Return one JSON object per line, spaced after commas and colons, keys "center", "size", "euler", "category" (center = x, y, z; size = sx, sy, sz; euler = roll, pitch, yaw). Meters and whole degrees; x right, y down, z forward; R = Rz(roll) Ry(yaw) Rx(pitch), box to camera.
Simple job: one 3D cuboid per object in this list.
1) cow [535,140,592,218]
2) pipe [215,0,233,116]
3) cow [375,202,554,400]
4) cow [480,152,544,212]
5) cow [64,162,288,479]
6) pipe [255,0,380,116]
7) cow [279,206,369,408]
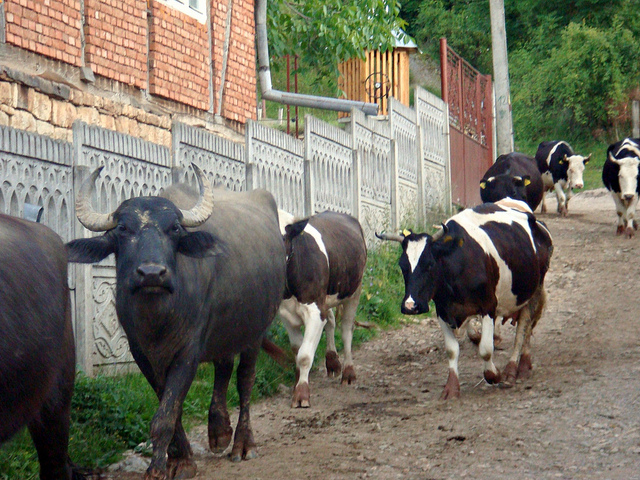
{"center": [5.421, -1.416, 25.324], "size": [0.605, 1.715, 2.627], "euler": [-1, 9, -12], "category": "cow"}
{"center": [-1.733, -3.284, 19.740], "size": [0.133, 2.032, 0.528], "euler": [3, 9, 33], "category": "pipe"}
{"center": [2.285, 0.865, 15.358], "size": [1.053, 2.645, 3.444], "euler": [-1, 3, 45], "category": "cow"}
{"center": [3.335, -1.031, 19.149], "size": [0.688, 1.350, 2.228], "euler": [-4, 4, 7], "category": "cow"}
{"center": [-1.527, 0.867, 12.902], "size": [1.261, 3.689, 2.990], "euler": [2, 10, 28], "category": "cow"}
{"center": [-0.340, -3.646, 21.542], "size": [1.523, 2.292, 3.725], "euler": [-8, 11, -30], "category": "pipe"}
{"center": [0.008, 0.776, 15.938], "size": [0.908, 2.598, 2.810], "euler": [-1, 10, 14], "category": "cow"}
